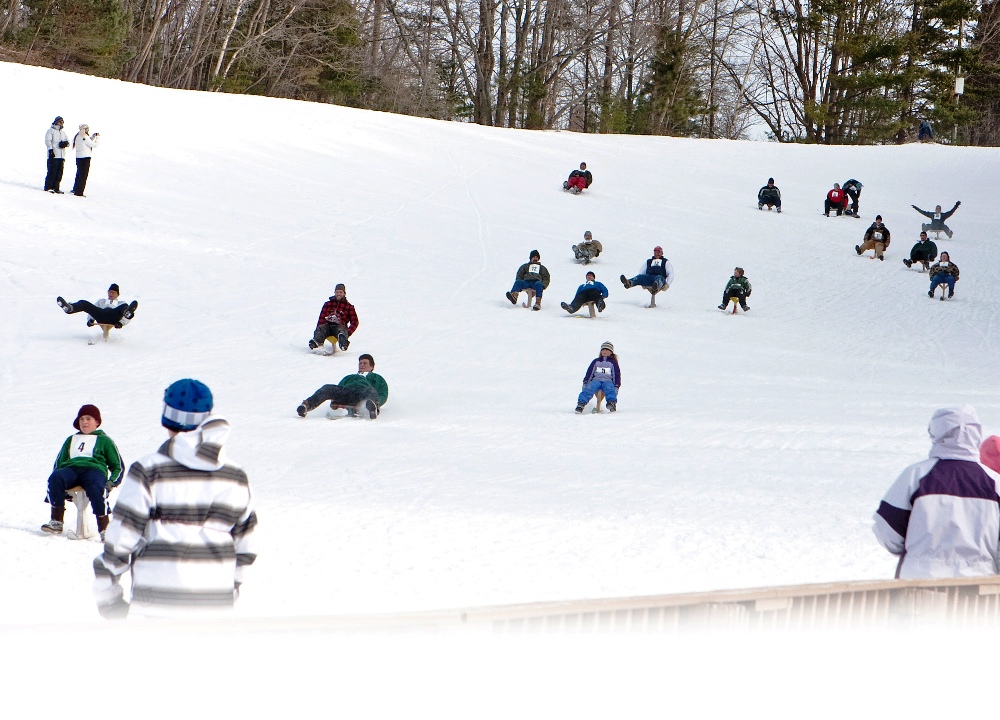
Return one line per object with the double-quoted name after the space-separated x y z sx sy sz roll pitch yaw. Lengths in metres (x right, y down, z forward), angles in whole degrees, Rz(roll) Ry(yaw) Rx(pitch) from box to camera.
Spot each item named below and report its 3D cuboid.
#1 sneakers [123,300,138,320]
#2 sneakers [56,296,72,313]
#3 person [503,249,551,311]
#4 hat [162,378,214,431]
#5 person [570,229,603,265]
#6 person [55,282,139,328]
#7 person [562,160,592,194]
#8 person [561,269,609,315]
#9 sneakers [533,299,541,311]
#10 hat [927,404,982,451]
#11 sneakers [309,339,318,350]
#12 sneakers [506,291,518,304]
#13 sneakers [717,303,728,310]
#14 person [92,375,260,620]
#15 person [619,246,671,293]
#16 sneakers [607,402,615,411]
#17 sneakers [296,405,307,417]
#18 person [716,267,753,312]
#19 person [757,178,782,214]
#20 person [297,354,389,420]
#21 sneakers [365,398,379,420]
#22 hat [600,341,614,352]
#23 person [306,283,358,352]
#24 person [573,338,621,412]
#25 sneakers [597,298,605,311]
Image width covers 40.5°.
-6.308 -0.836 23.161 0.131 0.365 0.144 10 -5 -8 "sneakers"
-7.479 -0.929 23.260 0.298 0.106 0.205 52 20 16 "sneakers"
0.578 -1.654 27.660 0.798 1.186 1.231 2 12 0 "person"
-2.430 0.346 10.508 0.437 0.382 0.315 3 10 -16 "hat"
2.014 -2.561 31.179 0.605 0.723 0.714 1 12 -1 "person"
-6.619 -0.777 23.060 1.008 0.737 1.047 -4 -13 4 "person"
2.142 -4.962 37.344 0.688 0.799 1.002 5 13 16 "person"
1.662 -1.301 26.986 0.838 0.898 0.860 2 12 1 "person"
0.745 -1.091 27.442 0.210 0.257 0.669 -1 -3 4 "sneakers"
3.793 0.550 11.320 0.334 0.374 0.422 2 10 0 "hat"
-3.215 -0.266 23.308 0.135 0.154 0.136 -3 -4 -20 "sneakers"
0.239 -1.197 27.413 0.127 0.316 0.228 -10 34 9 "sneakers"
4.688 -1.106 28.543 0.141 0.104 0.265 -1 -3 13 "sneakers"
-2.481 1.057 10.425 1.179 1.732 0.420 0 12 -10 "person"
3.079 -1.823 28.137 0.884 1.096 1.222 3 12 5 "person"
1.696 0.703 20.636 0.127 0.105 0.246 1 3 -1 "sneakers"
-2.912 0.757 19.995 0.139 0.180 0.077 1 -3 0 "sneakers"
4.953 -1.465 28.526 0.634 0.945 1.149 4 12 9 "person"
7.556 -4.561 37.784 0.679 0.920 1.532 4 12 10 "person"
-2.186 0.433 20.285 0.858 0.535 1.226 -2 4 12 "person"
-1.900 0.711 20.196 0.119 0.406 0.166 -8 -16 23 "sneakers"
1.609 -0.194 20.431 0.148 0.159 0.194 12 -21 16 "hat"
-2.859 -0.712 23.521 0.669 1.200 0.500 2 12 3 "person"
1.491 0.255 20.720 0.634 1.109 0.661 2 12 3 "person"
2.002 -1.079 26.840 0.162 0.200 0.199 -4 -4 1 "sneakers"
